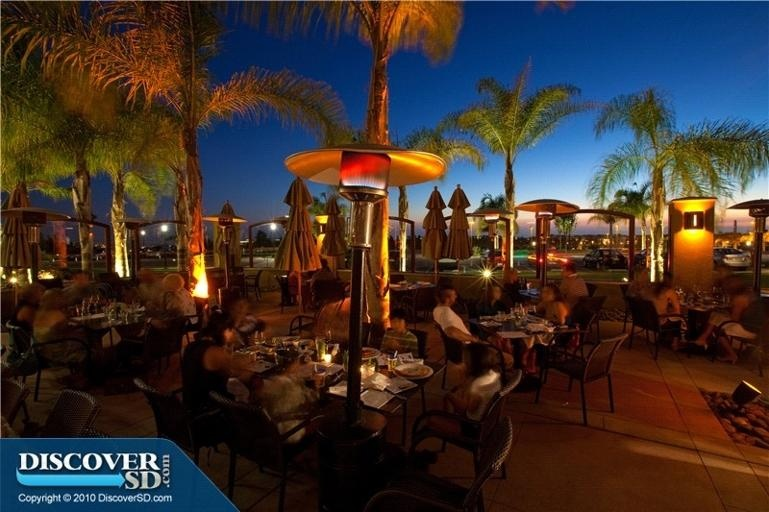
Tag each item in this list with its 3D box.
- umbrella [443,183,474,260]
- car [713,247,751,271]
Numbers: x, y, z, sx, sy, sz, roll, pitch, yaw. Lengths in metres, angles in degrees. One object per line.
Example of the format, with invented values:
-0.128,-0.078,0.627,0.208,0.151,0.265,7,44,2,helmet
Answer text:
2.051,-0.951,13.896,0.714,2.037,0.449,0,1,-4,umbrella
16.544,0.160,23.799,0.957,0.785,2.327,1,6,20,car
